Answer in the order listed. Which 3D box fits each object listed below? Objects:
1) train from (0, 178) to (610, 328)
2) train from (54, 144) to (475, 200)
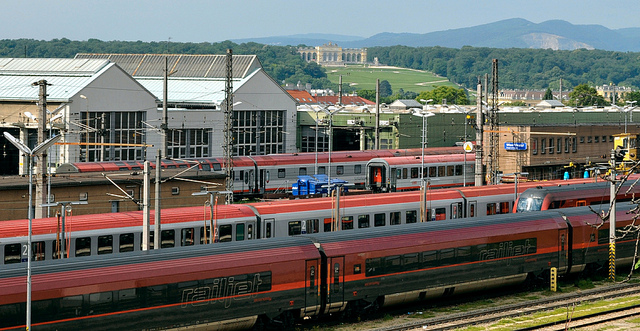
[{"bbox_3d":[1.957,8.531,99.058,65.034,10.611,16.231,-4,3,-21],"label":"train"},{"bbox_3d":[-3.859,2.174,128.156,64.093,7.207,6.424,0,-3,-35],"label":"train"}]
